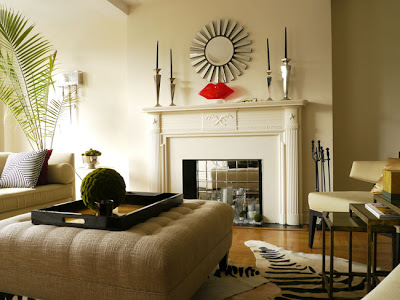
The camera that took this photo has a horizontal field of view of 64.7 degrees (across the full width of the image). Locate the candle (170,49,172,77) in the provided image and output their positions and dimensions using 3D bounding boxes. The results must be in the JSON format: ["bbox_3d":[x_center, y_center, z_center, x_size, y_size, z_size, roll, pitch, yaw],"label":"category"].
[{"bbox_3d":[-0.383,-1.158,4.211,0.040,0.403,0.160,-1,5,-7],"label":"candle"}]

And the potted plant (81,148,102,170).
[{"bbox_3d":[-1.430,0.126,4.182,0.247,0.298,0.261,1,-5,1],"label":"potted plant"}]

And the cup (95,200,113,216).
[{"bbox_3d":[-0.617,0.376,2.037,0.080,0.102,0.100,0,-4,-8],"label":"cup"}]

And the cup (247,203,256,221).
[{"bbox_3d":[0.666,0.772,3.953,0.099,0.190,0.164,-2,5,-22],"label":"cup"}]

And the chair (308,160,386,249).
[{"bbox_3d":[1.390,0.423,3.208,0.784,0.971,0.912,-1,-5,20],"label":"chair"}]

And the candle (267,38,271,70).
[{"bbox_3d":[0.844,-1.181,3.876,0.051,0.419,0.175,1,5,12],"label":"candle"}]

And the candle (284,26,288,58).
[{"bbox_3d":[1.038,-1.299,3.804,0.047,0.410,0.211,1,5,15],"label":"candle"}]

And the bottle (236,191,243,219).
[{"bbox_3d":[0.512,0.673,3.981,0.118,0.344,0.149,-1,4,-3],"label":"bottle"}]
